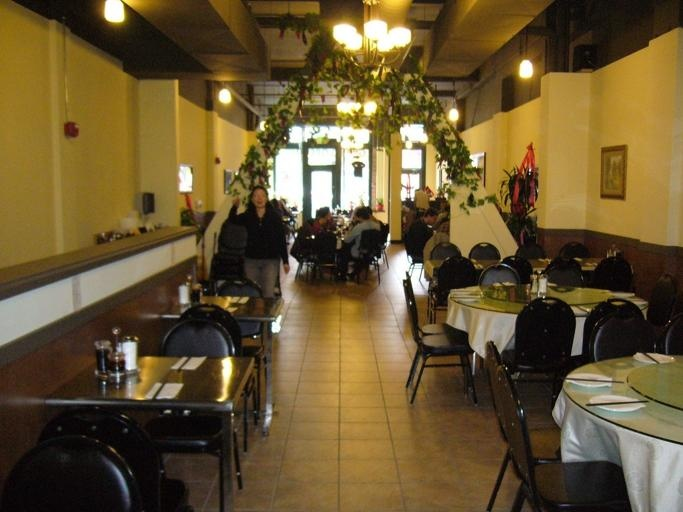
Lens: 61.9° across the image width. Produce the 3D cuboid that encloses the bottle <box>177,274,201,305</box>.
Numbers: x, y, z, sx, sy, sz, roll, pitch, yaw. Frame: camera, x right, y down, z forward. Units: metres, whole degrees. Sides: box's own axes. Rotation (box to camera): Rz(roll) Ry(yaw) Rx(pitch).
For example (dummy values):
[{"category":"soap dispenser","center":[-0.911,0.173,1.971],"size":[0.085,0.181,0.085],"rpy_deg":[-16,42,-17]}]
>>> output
[{"category":"bottle","center":[-1.265,0.276,4.743],"size":[0.206,0.302,0.300],"rpy_deg":[0,1,-2]}]

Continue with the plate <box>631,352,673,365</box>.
[{"category":"plate","center":[1.956,0.637,3.558],"size":[0.248,0.040,0.201],"rpy_deg":[-3,7,-41]}]

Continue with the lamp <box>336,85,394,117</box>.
[{"category":"lamp","center":[0.275,-2.023,7.433],"size":[0.573,0.377,1.617],"rpy_deg":[1,5,-3]}]
